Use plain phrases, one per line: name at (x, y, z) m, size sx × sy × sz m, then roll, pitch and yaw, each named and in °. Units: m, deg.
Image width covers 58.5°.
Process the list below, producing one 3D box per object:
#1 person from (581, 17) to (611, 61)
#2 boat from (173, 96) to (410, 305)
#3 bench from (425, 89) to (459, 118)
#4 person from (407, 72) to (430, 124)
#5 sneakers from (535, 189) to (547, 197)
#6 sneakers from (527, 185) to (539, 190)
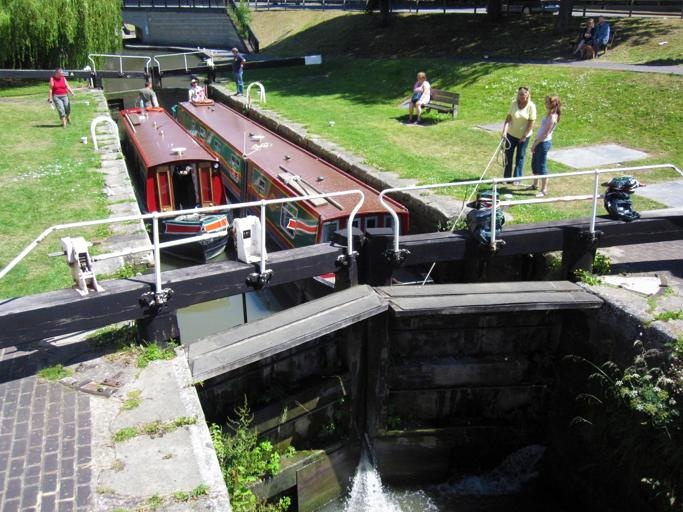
person at (8.066, -6.935, 19.249) m, size 0.597 × 1.202 × 1.241 m, roll 12°, pitch 26°, yaw 31°
boat at (-1.658, -1.655, 14.053) m, size 1.441 × 1.872 × 9.539 m, roll -16°, pitch 33°, yaw -27°
bench at (2.799, -4.271, 16.957) m, size 0.795 × 0.607 × 1.300 m, roll 0°, pitch 23°, yaw 4°
person at (2.189, -4.453, 16.921) m, size 0.583 × 1.340 × 1.103 m, roll 1°, pitch 23°, yaw 8°
sneakers at (3.645, -1.152, 11.126) m, size 0.096 × 0.124 × 0.296 m, roll 5°, pitch 13°, yaw 31°
sneakers at (3.639, -1.314, 11.564) m, size 0.232 × 0.099 × 0.085 m, roll 8°, pitch 17°, yaw 38°
